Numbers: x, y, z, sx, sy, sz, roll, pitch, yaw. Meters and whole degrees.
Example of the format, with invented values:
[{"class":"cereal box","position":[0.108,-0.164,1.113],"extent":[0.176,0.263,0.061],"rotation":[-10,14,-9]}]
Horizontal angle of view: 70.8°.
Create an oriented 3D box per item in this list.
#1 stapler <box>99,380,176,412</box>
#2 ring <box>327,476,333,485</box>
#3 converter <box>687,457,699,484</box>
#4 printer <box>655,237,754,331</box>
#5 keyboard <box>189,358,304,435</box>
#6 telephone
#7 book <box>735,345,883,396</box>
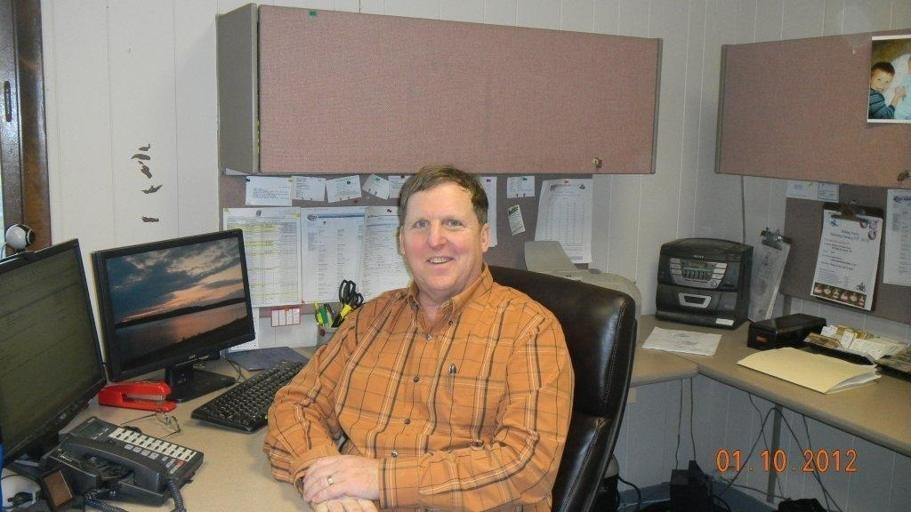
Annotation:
[{"class":"stapler","position":[-1.288,0.560,2.621],"extent":[0.253,0.083,0.066],"rotation":[9,8,-19]},{"class":"ring","position":[-0.421,0.771,2.205],"extent":[0.024,0.019,0.018],"rotation":[-2,14,-7]},{"class":"converter","position":[1.326,1.208,3.600],"extent":[0.094,0.064,0.108],"rotation":[0,53,11]},{"class":"printer","position":[1.378,0.140,3.524],"extent":[0.462,0.405,0.355],"rotation":[5,13,39]},{"class":"keyboard","position":[-0.836,0.519,2.578],"extent":[0.212,0.057,0.431],"rotation":[12,19,16]},{"class":"telephone","position":[-1.189,0.736,2.293],"extent":[0.553,0.208,0.245],"rotation":[2,14,13]},{"class":"book","position":[1.584,0.513,2.931],"extent":[0.278,0.032,0.279],"rotation":[-7,14,-31]}]
